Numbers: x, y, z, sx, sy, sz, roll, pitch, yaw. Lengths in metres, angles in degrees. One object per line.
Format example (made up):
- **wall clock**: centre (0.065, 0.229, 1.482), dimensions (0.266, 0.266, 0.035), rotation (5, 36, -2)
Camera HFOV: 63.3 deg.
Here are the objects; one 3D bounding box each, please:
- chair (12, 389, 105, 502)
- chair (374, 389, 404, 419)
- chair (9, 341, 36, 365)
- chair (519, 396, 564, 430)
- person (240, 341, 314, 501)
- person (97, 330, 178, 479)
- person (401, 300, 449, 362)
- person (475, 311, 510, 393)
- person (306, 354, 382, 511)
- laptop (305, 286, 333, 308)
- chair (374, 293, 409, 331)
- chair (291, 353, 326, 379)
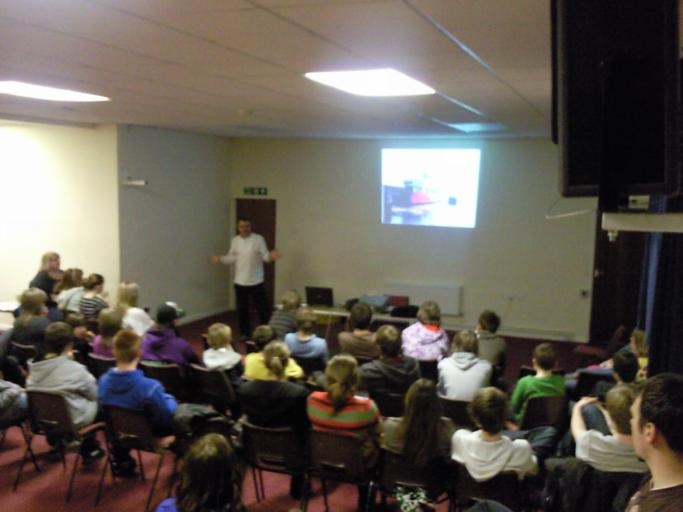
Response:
- **chair**: centre (-2.208, 1.385, 4.279), dimensions (0.711, 0.802, 0.528), rotation (4, 5, 41)
- **chair**: centre (0.364, 1.113, 4.265), dimensions (0.211, 0.194, 0.191), rotation (1, 3, 36)
- **chair**: centre (-2.869, 0.868, 4.986), dimensions (0.171, 0.232, 0.167), rotation (8, 10, 23)
- **chair**: centre (1.488, 1.128, 4.161), dimensions (0.312, 0.319, 0.248), rotation (2, 4, -2)
- **person**: centre (-0.457, 1.219, 3.936), dimensions (0.495, 1.217, 0.517), rotation (0, 4, 3)
- **person**: centre (-1.471, 0.930, 4.073), dimensions (0.644, 0.760, 0.309), rotation (2, 4, 24)
- **person**: centre (0.806, 0.907, 5.302), dimensions (0.446, 0.927, 0.443), rotation (0, 15, 5)
- **person**: centre (1.391, 1.064, 5.244), dimensions (0.343, 1.008, 0.345), rotation (-1, -11, 21)
- **person**: centre (0.012, 1.026, 3.608), dimensions (0.492, 0.739, 0.269), rotation (0, 4, 2)
- **laptop**: centre (-0.260, 0.541, 7.847), dimensions (0.363, 0.270, 0.264), rotation (4, 12, 21)
- **chair**: centre (0.689, 0.785, 7.742), dimensions (0.437, 0.659, 0.518), rotation (0, -5, 22)
- **chair**: centre (-0.281, 0.939, 4.955), dimensions (0.210, 0.326, 0.220), rotation (3, 11, 13)
